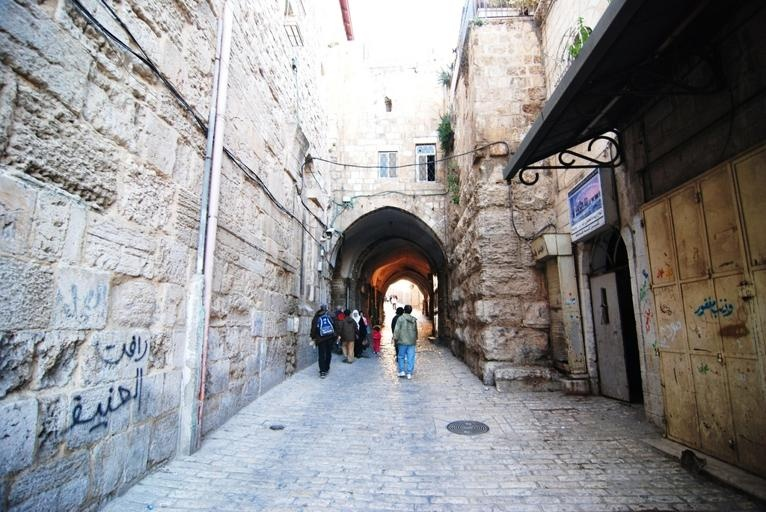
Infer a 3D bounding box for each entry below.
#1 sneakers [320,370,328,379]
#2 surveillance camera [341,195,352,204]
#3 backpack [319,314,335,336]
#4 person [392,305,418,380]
[{"bbox_3d":[-1.291,2.584,9.208,0.090,0.138,0.294,1,-17,-3],"label":"sneakers"},{"bbox_3d":[-1.254,-1.936,14.656,0.324,0.235,0.184,-1,-18,0],"label":"surveillance camera"},{"bbox_3d":[-1.276,1.556,9.449,0.325,0.470,0.243,0,1,-12],"label":"backpack"},{"bbox_3d":[0.488,1.893,9.480,0.509,1.654,1.024,0,1,1],"label":"person"}]
